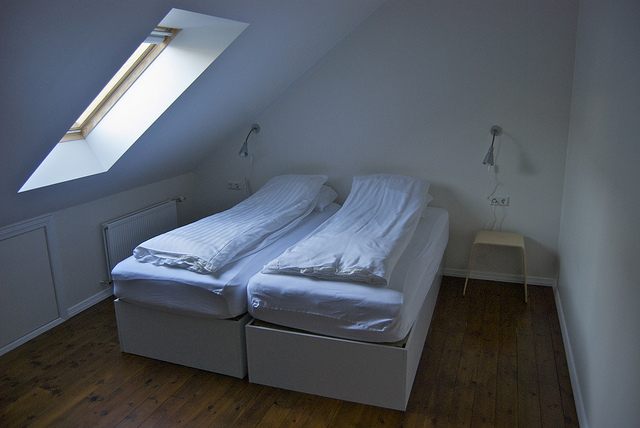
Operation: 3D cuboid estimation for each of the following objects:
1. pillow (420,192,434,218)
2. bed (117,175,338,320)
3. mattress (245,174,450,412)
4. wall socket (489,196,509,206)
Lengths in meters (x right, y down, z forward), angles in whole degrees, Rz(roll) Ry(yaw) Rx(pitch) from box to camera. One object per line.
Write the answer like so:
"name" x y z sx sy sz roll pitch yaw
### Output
"pillow" 1.106 -0.091 4.526 0.065 0.236 0.208 12 -12 30
"bed" -0.712 0.208 4.498 1.323 0.744 2.433 6 20 24
"mattress" 0.444 0.458 4.172 1.321 1.197 2.381 3 19 23
"wall socket" 1.874 -0.144 4.544 0.194 0.100 0.053 8 3 24
